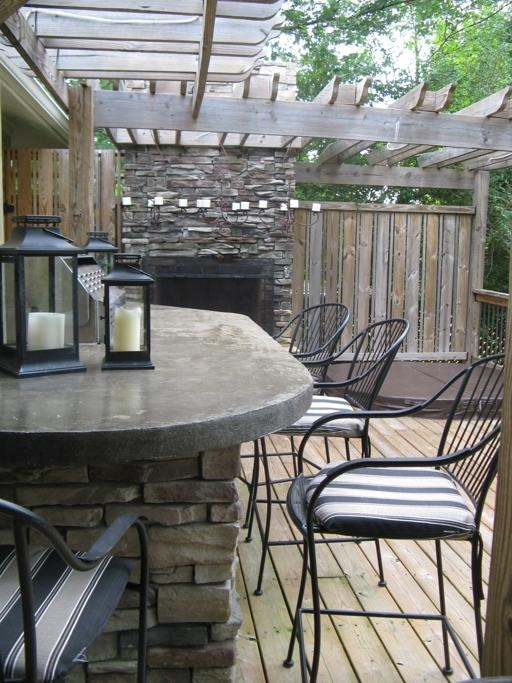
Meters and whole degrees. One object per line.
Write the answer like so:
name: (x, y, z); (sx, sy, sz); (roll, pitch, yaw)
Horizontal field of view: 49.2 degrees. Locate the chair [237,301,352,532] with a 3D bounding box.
chair: (0.187, 0.421, 3.599); (0.832, 1.325, 0.802); (3, 5, 11)
